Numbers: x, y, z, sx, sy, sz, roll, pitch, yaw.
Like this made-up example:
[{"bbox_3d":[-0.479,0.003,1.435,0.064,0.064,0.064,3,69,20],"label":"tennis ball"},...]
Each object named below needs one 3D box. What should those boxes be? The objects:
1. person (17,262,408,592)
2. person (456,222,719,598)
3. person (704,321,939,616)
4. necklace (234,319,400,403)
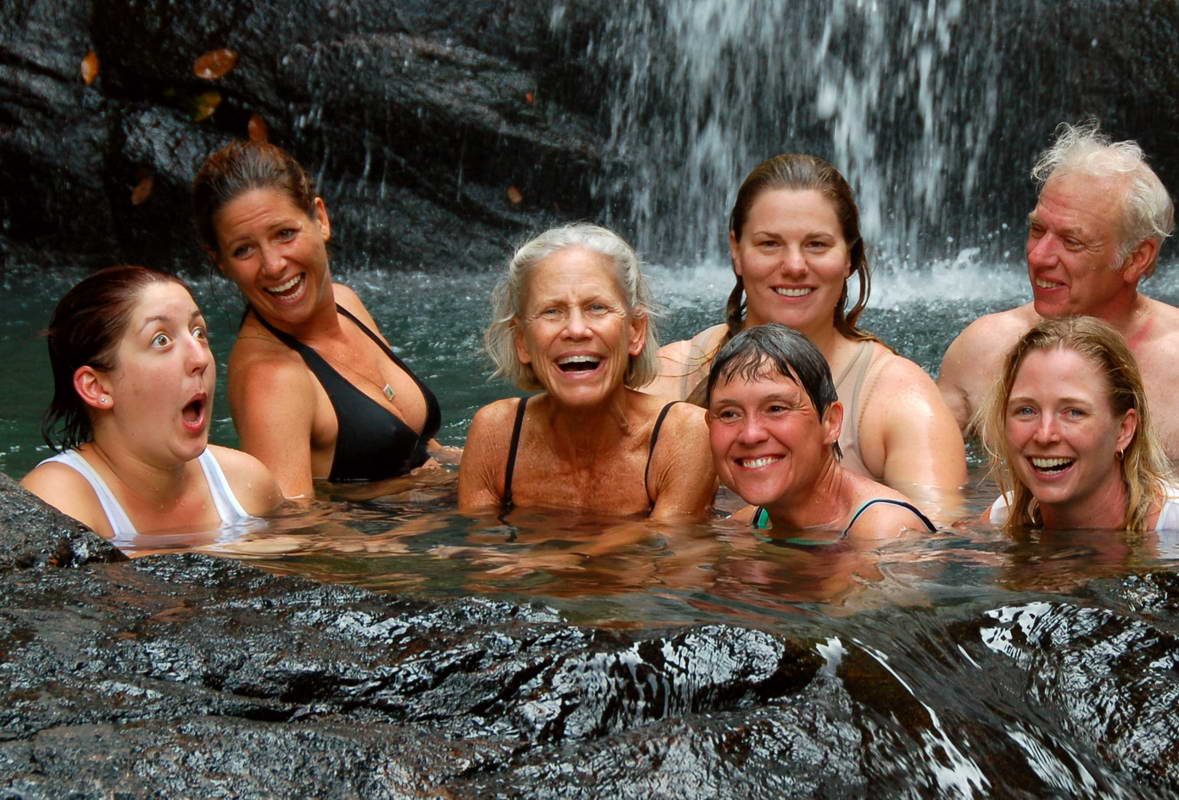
[{"bbox_3d":[-1.852,0.043,4.719,1.080,1.188,0.789,-8,16,-21],"label":"person"},{"bbox_3d":[-0.048,-0.119,5.148,1.197,1.331,0.558,-4,15,-6],"label":"person"},{"bbox_3d":[1.008,0.160,4.722,0.688,0.895,0.986,-12,17,-33],"label":"person"},{"bbox_3d":[-1.472,-0.199,5.892,0.234,0.440,0.319,-44,23,14],"label":"necklace"}]
